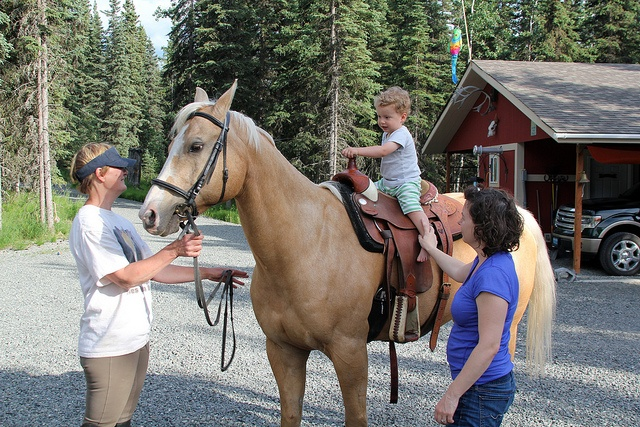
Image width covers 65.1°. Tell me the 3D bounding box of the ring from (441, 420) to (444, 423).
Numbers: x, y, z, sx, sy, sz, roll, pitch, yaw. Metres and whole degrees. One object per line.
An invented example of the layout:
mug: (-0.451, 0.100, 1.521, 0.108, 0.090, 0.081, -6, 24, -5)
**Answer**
ring: (1.389, 2.368, 5.666, 0.018, 0.040, 0.066, -2, -9, 6)

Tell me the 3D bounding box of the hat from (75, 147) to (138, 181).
hat: (-2.545, -0.469, 6.028, 0.600, 0.240, 0.422, -22, 2, -11)
